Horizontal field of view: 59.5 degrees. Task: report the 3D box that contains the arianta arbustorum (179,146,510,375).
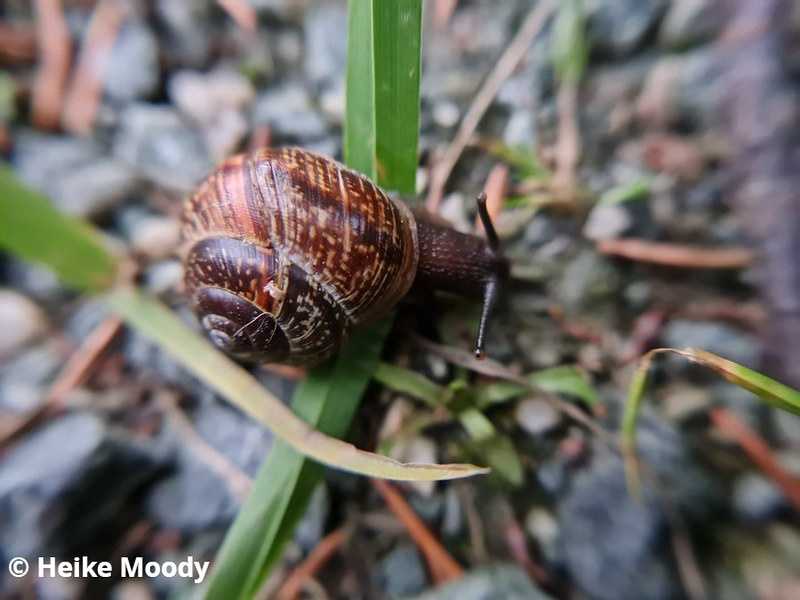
[{"bbox_3d":[-0.109,-0.080,1.421,0.679,0.298,0.356,2,60,3],"label":"arianta arbustorum"}]
